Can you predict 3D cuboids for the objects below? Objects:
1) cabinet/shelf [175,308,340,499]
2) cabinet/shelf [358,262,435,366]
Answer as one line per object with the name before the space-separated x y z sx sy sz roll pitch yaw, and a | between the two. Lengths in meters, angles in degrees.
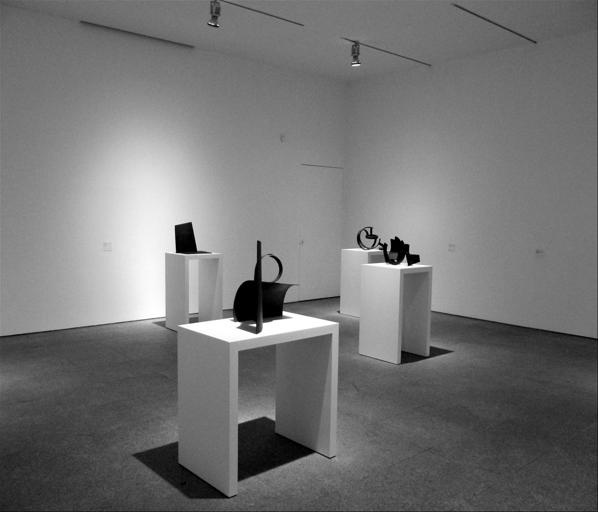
cabinet/shelf | -0.250 0.834 2.836 0.928 0.852 0.574 -2 5 -34
cabinet/shelf | 1.054 0.598 5.073 0.612 1.021 0.656 -3 5 -39
